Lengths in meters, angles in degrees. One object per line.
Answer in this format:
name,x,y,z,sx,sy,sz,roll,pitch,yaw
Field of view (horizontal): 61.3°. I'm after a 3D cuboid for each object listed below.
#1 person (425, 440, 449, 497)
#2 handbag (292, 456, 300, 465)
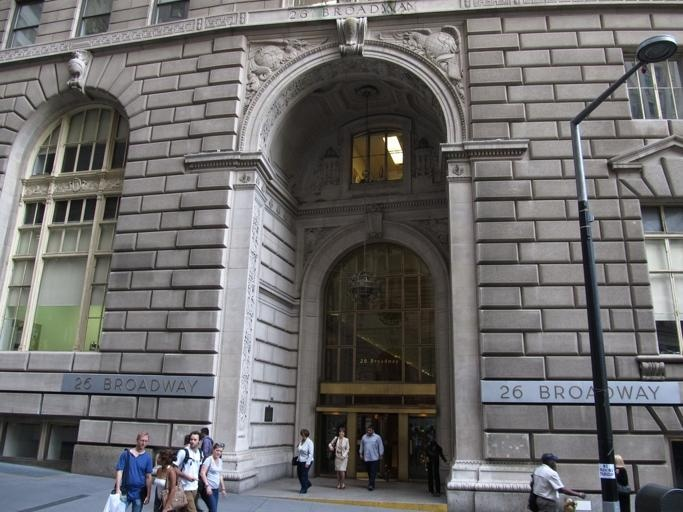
person,3.387,7.449,20.419,0.627,1.796,1.122,-4,-19,10
handbag,-1.514,6.820,19.288,0.201,0.258,0.423,1,-18,-5
